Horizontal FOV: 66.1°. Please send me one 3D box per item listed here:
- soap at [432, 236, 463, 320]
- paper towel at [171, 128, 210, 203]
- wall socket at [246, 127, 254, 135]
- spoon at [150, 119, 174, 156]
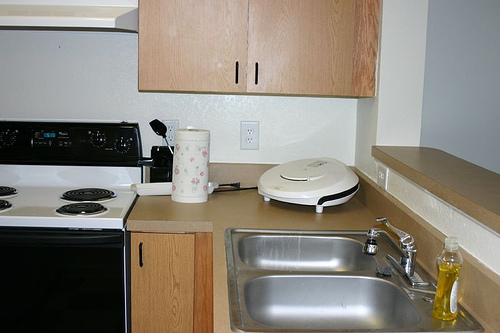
[{"bbox_3d":[0.642,0.362,1.242,0.085,0.263,0.062,1,13,15],"label":"soap"},{"bbox_3d":[-0.318,-0.003,2.039,0.216,0.390,0.131,-8,14,-23],"label":"paper towel"},{"bbox_3d":[-0.001,-0.222,2.364,0.040,0.044,0.006,3,13,9],"label":"wall socket"},{"bbox_3d":[-0.506,-0.177,2.229,0.104,0.207,0.237,-4,12,-7],"label":"spoon"}]
